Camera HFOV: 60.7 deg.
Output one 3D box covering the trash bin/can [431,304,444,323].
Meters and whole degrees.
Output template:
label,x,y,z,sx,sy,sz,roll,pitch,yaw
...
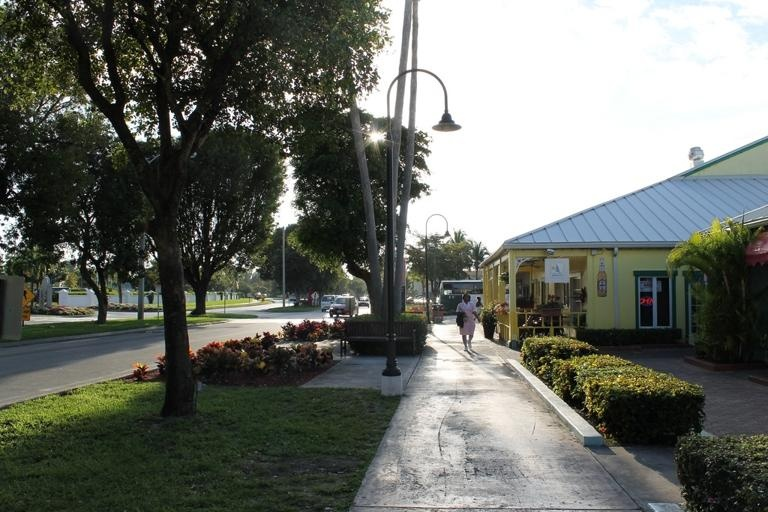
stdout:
label,x,y,z,sx,sy,sz,roll,pitch,yaw
trash bin/can,3.923,4.203,48.014,0.951,1.603,1.061,-1,-1,14
